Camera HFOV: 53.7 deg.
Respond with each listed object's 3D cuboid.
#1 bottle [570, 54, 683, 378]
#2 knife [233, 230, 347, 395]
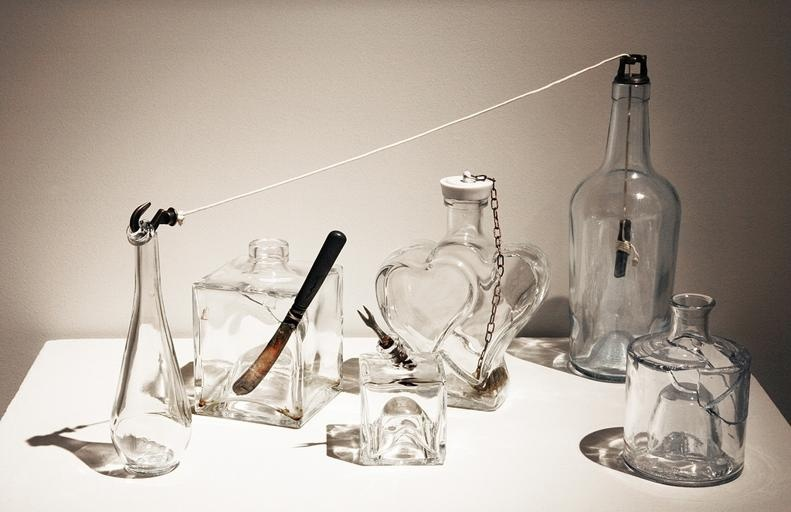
[{"bbox_3d":[0.364,-0.052,1.248,0.167,0.530,0.103,5,0,16],"label":"bottle"},{"bbox_3d":[-0.162,0.097,1.191,0.054,0.298,0.035,33,-4,-11],"label":"knife"}]
